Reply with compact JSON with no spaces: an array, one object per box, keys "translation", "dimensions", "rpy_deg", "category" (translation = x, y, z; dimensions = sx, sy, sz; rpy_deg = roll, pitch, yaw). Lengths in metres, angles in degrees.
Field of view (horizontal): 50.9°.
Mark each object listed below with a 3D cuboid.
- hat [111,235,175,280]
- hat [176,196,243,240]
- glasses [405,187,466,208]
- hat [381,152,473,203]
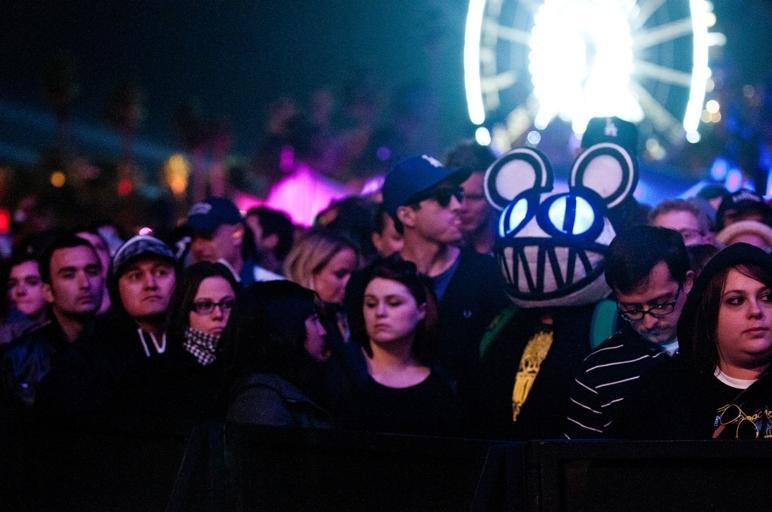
[{"translation":[-1.265,-0.019,4.271],"dimensions":[0.327,0.139,0.415],"rpy_deg":[-5,-5,-20],"category":"hat"},{"translation":[-0.901,-0.196,4.181],"dimensions":[0.283,0.130,0.191],"rpy_deg":[2,-3,-26],"category":"hat"},{"translation":[0.274,-0.301,4.151],"dimensions":[0.174,0.043,0.141],"rpy_deg":[-11,-2,23],"category":"glasses"},{"translation":[0.187,-0.381,4.176],"dimensions":[0.331,0.143,0.233],"rpy_deg":[-28,2,15],"category":"hat"}]
